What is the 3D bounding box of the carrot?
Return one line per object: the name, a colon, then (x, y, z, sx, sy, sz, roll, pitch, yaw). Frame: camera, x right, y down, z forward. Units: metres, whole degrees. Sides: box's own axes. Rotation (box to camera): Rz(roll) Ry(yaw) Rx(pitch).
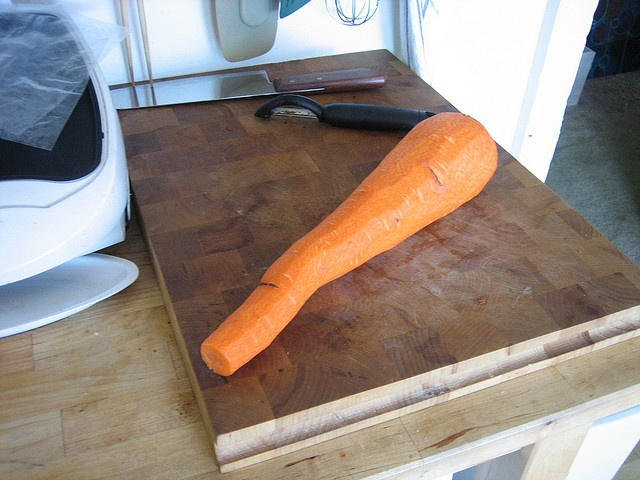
carrot: (0.118, -0.021, 0.778, 0.628, 0.152, 0.161, -30, 69, -18)
